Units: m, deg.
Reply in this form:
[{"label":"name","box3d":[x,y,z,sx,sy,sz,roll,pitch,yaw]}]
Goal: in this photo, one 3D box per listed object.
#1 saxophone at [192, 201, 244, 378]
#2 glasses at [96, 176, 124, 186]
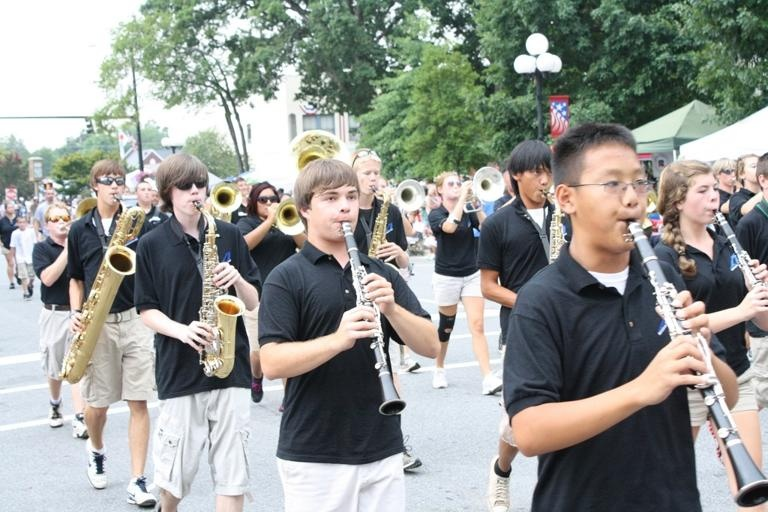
[{"label":"saxophone","box3d":[-1.299,0.260,5.402,0.420,1.334,0.417,0,-1,-16]},{"label":"glasses","box3d":[-2.753,-0.749,6.892,0.237,0.094,0.145,-4,0,-29]}]
